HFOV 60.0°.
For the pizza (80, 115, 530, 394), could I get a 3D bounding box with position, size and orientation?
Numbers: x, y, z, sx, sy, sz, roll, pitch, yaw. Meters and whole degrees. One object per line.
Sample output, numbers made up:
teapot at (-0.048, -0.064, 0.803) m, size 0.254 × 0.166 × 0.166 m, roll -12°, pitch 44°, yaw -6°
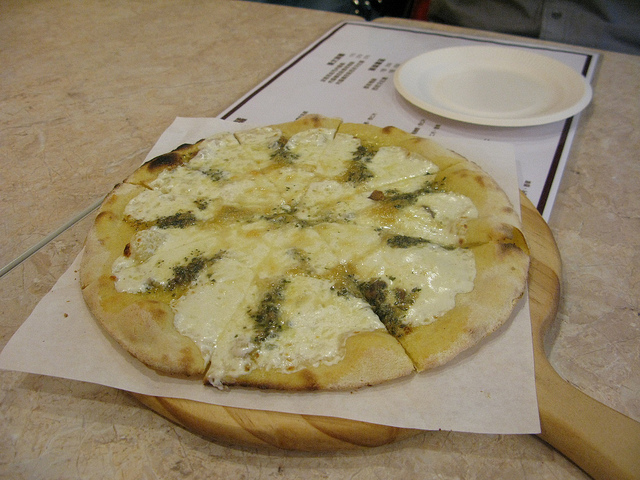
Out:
pizza at (-0.055, -0.020, 1.755) m, size 1.374 × 0.086 × 1.027 m, roll 4°, pitch 52°, yaw 6°
